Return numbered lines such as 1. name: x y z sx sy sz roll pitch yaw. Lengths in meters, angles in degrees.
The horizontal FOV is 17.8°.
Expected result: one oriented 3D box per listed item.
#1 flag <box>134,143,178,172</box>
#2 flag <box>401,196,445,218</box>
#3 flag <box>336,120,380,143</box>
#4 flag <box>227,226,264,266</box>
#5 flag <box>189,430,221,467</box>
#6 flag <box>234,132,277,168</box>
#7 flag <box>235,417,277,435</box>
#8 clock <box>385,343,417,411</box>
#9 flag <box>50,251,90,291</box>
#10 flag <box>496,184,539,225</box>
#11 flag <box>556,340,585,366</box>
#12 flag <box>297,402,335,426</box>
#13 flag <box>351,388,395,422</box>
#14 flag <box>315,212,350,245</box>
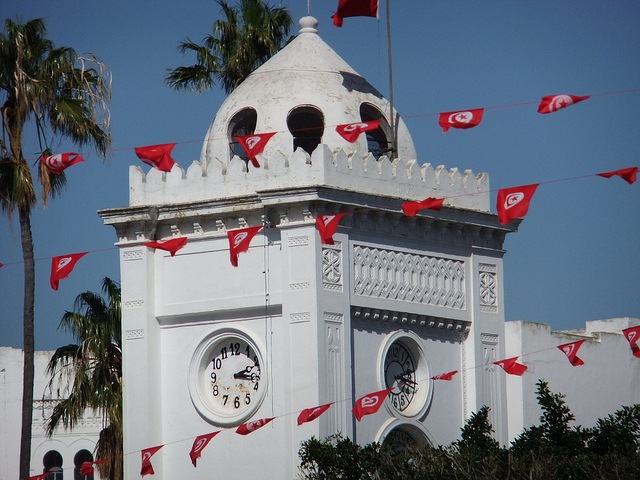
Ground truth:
1. flag: -4.233 -2.127 52.368 0.904 0.601 0.583 0 -14 -5
2. flag: 2.632 -0.950 52.574 1.248 0.455 0.700 -12 -18 34
3. flag: 0.952 -2.963 54.409 1.176 0.606 0.891 -4 -15 8
4. flag: -1.986 0.139 54.444 0.067 0.750 0.801 24 -40 -37
5. flag: -3.141 5.513 54.387 0.681 0.969 1.364 -1 -15 -3
6. flag: -1.749 -2.471 55.369 0.871 0.789 0.076 -3 -7 26
7. flag: -1.777 4.924 54.215 0.922 0.496 0.935 -7 -16 18
8. clock: 2.111 3.793 56.003 0.136 1.472 1.320 -11 11 42
9. flag: -6.493 0.738 53.131 1.058 0.158 1.018 -10 -53 -29
10. flag: 4.980 -0.942 51.645 1.251 0.195 1.026 -12 -51 -4
11. flag: 7.065 3.248 58.837 0.823 1.021 0.276 -6 4 23
12. flag: -0.231 4.529 53.673 0.831 0.521 0.814 -2 -15 0
13. flag: 1.302 4.398 54.575 0.734 0.675 0.247 -16 -37 -5
14. flag: 0.252 -0.324 53.210 0.592 0.858 0.769 5 2 -1
